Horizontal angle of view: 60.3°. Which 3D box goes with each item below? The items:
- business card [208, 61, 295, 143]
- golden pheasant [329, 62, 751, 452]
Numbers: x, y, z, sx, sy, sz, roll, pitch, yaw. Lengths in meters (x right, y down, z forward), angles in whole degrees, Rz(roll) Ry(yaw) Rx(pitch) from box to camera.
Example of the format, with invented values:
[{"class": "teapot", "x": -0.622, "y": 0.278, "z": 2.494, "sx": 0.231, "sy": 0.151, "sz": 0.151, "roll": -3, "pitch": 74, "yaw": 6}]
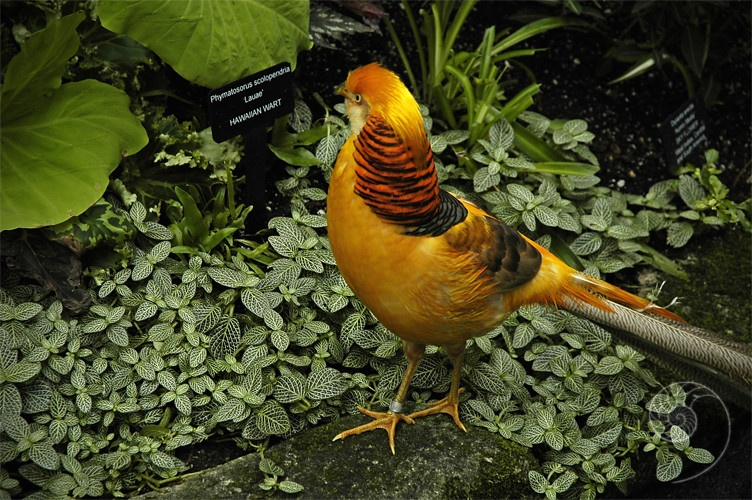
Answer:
[{"class": "business card", "x": -0.618, "y": -0.739, "z": 3.279, "sx": 0.518, "sy": 0.010, "sz": 0.297, "roll": -16, "pitch": 72, "yaw": 19}, {"class": "golden pheasant", "x": 0.474, "y": 0.056, "z": 2.702, "sx": 1.621, "sy": 1.132, "sz": 0.727, "roll": 23, "pitch": 65, "yaw": 22}]
